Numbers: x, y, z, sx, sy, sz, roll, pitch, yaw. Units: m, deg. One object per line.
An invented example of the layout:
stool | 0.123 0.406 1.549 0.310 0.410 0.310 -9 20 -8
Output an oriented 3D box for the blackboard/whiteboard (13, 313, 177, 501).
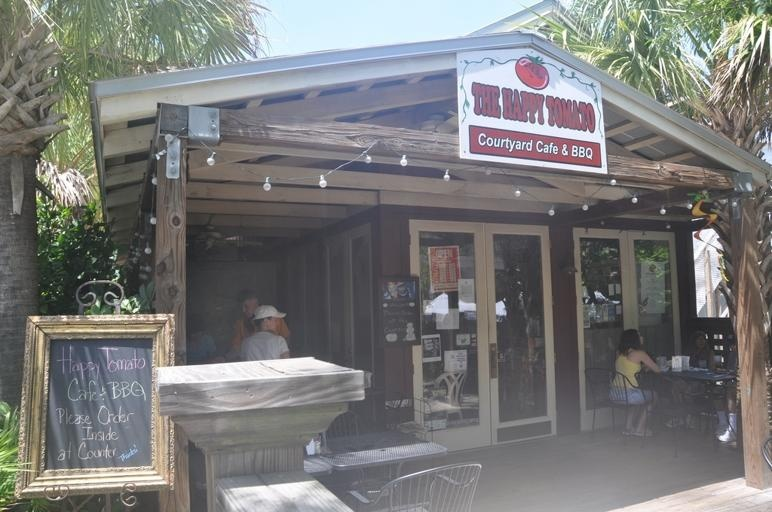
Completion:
blackboard/whiteboard | -2.426 1.275 5.929 1.576 1.919 0.197 -1 -14 -10

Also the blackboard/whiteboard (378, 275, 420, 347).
blackboard/whiteboard | 0.200 0.732 9.389 0.535 0.918 0.160 0 -8 -30

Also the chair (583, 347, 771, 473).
chair | 3.989 1.951 10.219 1.930 1.060 1.339 2 -2 -37

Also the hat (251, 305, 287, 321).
hat | -1.446 0.726 8.903 0.405 0.160 0.270 -2 0 -30
